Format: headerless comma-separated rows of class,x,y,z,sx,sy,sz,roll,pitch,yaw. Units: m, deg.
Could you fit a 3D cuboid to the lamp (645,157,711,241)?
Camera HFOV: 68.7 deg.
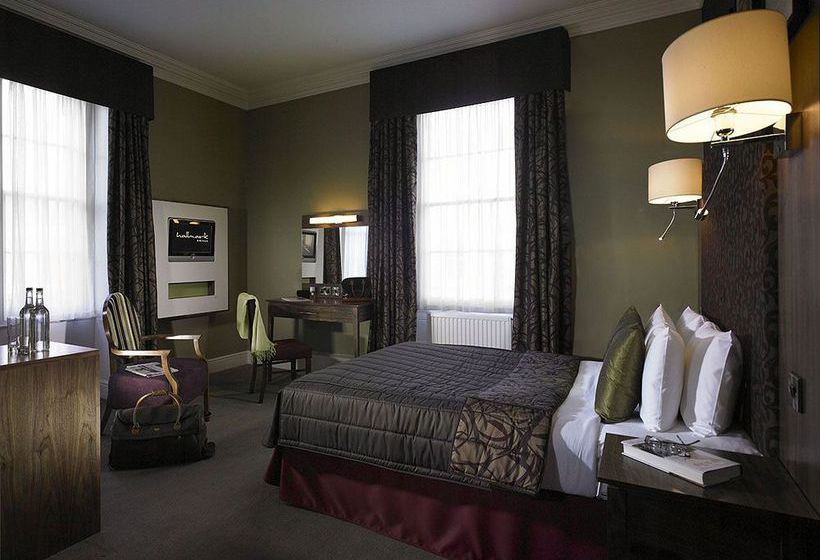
lamp,2.002,-0.596,4.528,0.350,0.581,0.367,-4,-2,10

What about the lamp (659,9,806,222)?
lamp,1.665,-0.887,3.432,0.758,1.271,0.757,-3,2,-1

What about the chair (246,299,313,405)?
chair,-1.406,0.686,6.437,0.621,1.038,0.582,-4,10,-21

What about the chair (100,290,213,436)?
chair,-2.288,0.736,5.384,0.744,1.154,0.797,1,4,5

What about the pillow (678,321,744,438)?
pillow,1.767,0.619,3.520,0.216,0.459,0.641,0,1,21

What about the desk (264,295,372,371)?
desk,-1.006,0.556,6.897,1.083,0.737,0.623,4,10,20

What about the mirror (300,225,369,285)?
mirror,-0.904,-0.291,7.038,0.979,0.718,0.171,7,14,27
